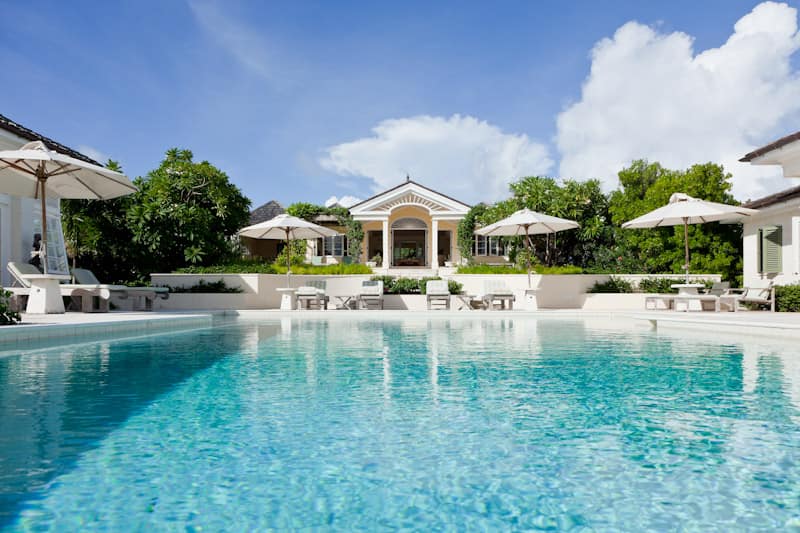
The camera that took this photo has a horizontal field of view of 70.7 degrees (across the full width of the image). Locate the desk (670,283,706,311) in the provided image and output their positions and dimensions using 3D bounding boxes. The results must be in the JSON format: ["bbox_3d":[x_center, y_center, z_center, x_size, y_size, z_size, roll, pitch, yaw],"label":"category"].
[{"bbox_3d":[9.604,1.025,18.947,1.309,1.002,1.376,0,-4,1],"label":"desk"}]

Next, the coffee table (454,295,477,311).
[{"bbox_3d":[2.423,1.243,21.426,0.907,0.596,0.491,0,-6,-4],"label":"coffee table"}]

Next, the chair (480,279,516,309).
[{"bbox_3d":[3.638,1.014,20.618,0.921,1.210,1.256,1,-11,-6],"label":"chair"}]

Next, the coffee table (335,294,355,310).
[{"bbox_3d":[-2.061,1.417,21.899,0.991,0.662,0.525,1,-8,-7],"label":"coffee table"}]

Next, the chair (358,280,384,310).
[{"bbox_3d":[-1.024,1.073,21.130,0.777,1.092,1.094,-1,-11,2],"label":"chair"}]

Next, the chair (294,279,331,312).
[{"bbox_3d":[-3.318,1.233,21.470,1.210,1.181,1.690,-1,12,-7],"label":"chair"}]

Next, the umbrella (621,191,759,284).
[{"bbox_3d":[10.374,-1.045,20.390,3.211,3.207,5.584,8,14,33],"label":"umbrella"}]

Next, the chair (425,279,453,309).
[{"bbox_3d":[1.365,1.097,21.043,0.779,1.049,1.160,0,11,-2],"label":"chair"}]
